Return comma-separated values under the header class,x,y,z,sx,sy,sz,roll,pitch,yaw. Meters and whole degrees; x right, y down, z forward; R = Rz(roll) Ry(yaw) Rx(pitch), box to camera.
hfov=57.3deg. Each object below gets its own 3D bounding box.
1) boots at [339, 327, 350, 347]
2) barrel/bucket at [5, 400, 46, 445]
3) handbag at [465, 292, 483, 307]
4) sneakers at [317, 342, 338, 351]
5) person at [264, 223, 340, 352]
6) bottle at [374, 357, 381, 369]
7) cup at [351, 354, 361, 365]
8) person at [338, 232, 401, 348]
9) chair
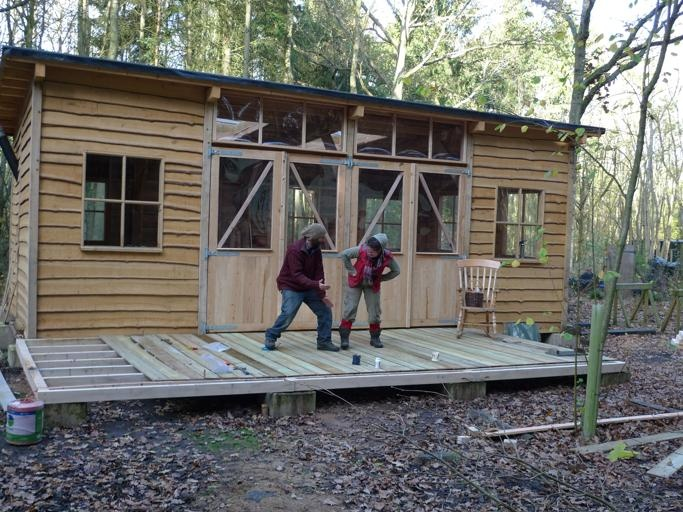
class,x,y,z,sx,sy,sz,roll,pitch,yaw
boots,0.044,1.036,7.893,0.119,0.258,0.251,2,11,-1
barrel/bucket,-2.711,1.422,5.446,0.352,0.366,0.351,2,-1,0
handbag,1.922,0.617,8.976,0.220,0.215,0.226,0,2,-9
sneakers,-0.175,1.123,7.764,0.290,0.124,0.098,1,0,-3
person,-0.471,0.386,7.576,0.925,1.548,0.874,1,2,-8
bottle,0.416,1.200,6.973,0.079,0.109,0.079,0,4,0
cup,0.173,1.177,7.084,0.094,0.107,0.097,-1,-1,0
person,0.360,0.458,7.990,0.741,1.489,0.626,1,12,-4
chair,2.028,0.615,9.288,0.650,1.299,1.278,5,12,14
